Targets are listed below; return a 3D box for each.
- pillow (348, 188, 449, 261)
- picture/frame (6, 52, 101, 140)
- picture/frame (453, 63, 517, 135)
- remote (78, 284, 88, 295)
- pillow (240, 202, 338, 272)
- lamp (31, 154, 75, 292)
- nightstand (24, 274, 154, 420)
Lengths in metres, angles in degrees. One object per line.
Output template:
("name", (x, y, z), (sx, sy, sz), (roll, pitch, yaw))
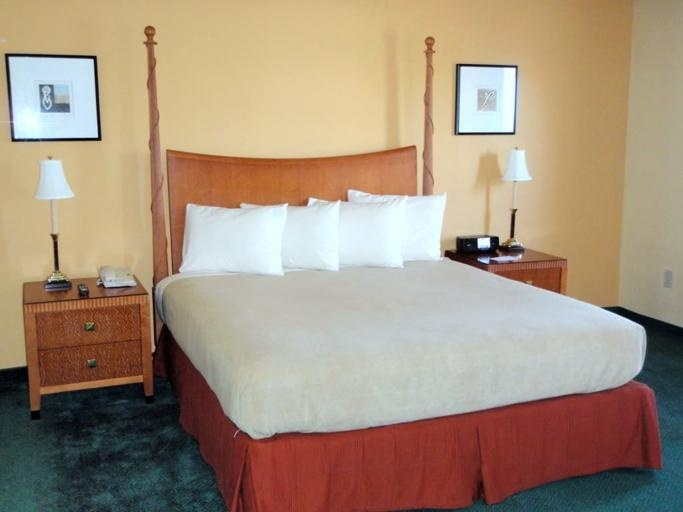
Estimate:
("pillow", (0.386, -0.227, 4.194), (0.484, 0.450, 0.184), (1, 3, -7))
("picture/frame", (-2.038, -1.130, 3.979), (0.526, 0.635, 0.019), (-3, 11, -19))
("picture/frame", (1.192, -1.354, 4.839), (0.504, 0.574, 0.038), (-1, 4, -16))
("remote", (-1.688, 0.219, 3.730), (0.058, 0.113, 0.098), (1, -1, -30))
("pillow", (-0.210, -0.121, 3.900), (0.384, 0.455, 0.129), (-2, 1, -7))
("lamp", (-1.946, -0.233, 3.922), (0.233, 0.874, 0.415), (-5, 9, -25))
("nightstand", (-1.729, 0.537, 3.986), (0.706, 0.820, 0.783), (-3, 7, -22))
